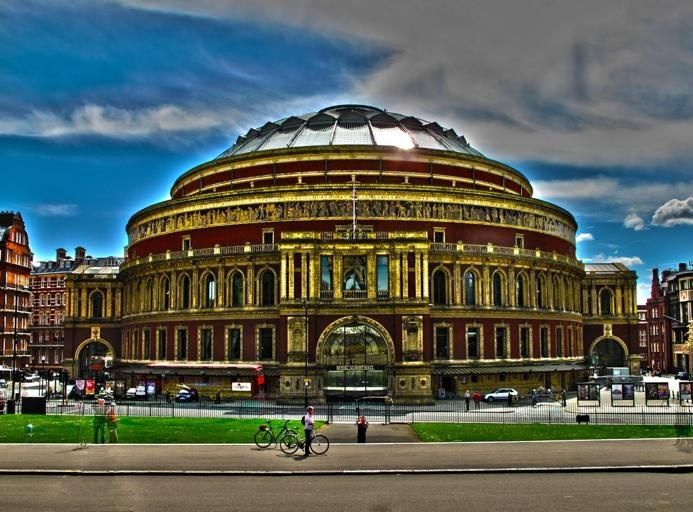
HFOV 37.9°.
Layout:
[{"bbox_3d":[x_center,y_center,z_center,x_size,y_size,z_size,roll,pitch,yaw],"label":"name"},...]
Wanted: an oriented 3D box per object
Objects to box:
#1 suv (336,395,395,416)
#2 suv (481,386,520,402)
[{"bbox_3d":[1.962,12.728,86.797,4.458,1.245,2.475,0,-9,-1],"label":"suv"},{"bbox_3d":[14.314,12.843,92.414,2.622,1.141,4.572,0,0,-17],"label":"suv"}]
